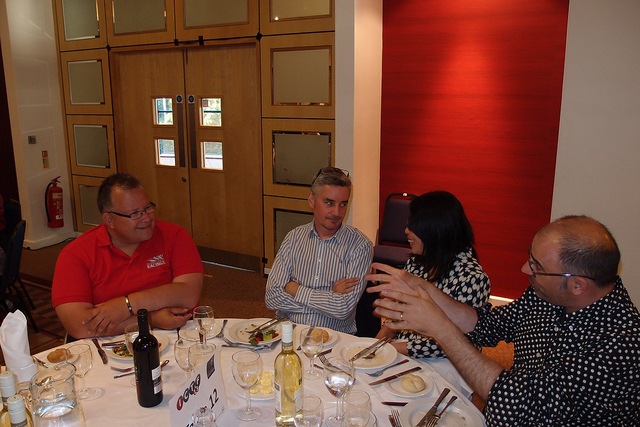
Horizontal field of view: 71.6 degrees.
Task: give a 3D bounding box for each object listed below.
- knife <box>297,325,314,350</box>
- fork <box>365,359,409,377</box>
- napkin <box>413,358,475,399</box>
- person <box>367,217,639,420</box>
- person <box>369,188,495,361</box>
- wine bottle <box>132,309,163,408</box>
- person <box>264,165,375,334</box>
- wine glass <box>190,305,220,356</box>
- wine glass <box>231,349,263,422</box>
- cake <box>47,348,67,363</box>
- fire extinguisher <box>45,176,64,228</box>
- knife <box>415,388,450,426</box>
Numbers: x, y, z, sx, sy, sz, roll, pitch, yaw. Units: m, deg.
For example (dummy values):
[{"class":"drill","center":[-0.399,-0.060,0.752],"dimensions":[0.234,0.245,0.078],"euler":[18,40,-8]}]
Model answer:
[{"class":"knife","center":[-0.076,0.653,2.320],"dimensions":[0.025,0.181,0.008],"euler":[33,-7,36]},{"class":"fork","center":[0.349,0.811,2.324],"dimensions":[0.156,0.019,0.021],"euler":[-19,27,-35]},{"class":"napkin","center":[0.706,0.892,2.490],"dimensions":[0.222,0.060,0.241],"euler":[22,5,-6]},{"class":"person","center":[1.044,0.416,3.182],"dimensions":[1.390,2.367,1.005],"euler":[3,11,4]},{"class":"person","center":[0.737,0.475,2.986],"dimensions":[0.652,1.169,0.844],"euler":[-16,19,-19]},{"class":"wine bottle","center":[-0.818,0.677,2.086],"dimensions":[0.118,0.492,0.096],"euler":[-8,14,-25]},{"class":"person","center":[0.038,0.324,3.223],"dimensions":[0.715,1.236,0.700],"euler":[12,13,42]},{"class":"wine glass","center":[-0.632,0.646,2.422],"dimensions":[0.157,0.238,0.154],"euler":[-1,22,-5]},{"class":"wine glass","center":[-0.343,0.799,2.095],"dimensions":[0.137,0.302,0.164],"euler":[-5,13,-13]},{"class":"cake","center":[-1.345,0.728,2.273],"dimensions":[0.090,0.031,0.092],"euler":[11,18,23]},{"class":"fire extinguisher","center":[-3.875,-0.147,6.475],"dimensions":[0.165,0.712,0.246],"euler":[10,18,42]},{"class":"knife","center":[0.530,0.920,2.090],"dimensions":[0.065,0.033,0.452],"euler":[9,17,27]}]
